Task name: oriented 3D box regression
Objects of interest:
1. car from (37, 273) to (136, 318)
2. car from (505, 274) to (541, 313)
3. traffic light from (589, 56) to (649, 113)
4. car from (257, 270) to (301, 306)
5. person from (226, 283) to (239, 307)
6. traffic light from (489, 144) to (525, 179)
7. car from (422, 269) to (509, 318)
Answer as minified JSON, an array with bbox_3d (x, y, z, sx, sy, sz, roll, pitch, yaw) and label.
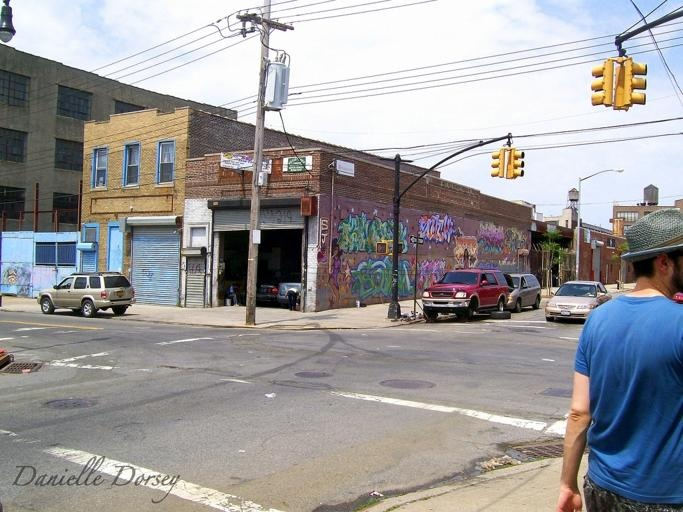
[{"bbox_3d":[-10.708,1.554,26.457,3.382,1.544,1.811,3,1,26],"label":"car"},{"bbox_3d":[8.421,1.681,29.642,1.363,1.168,2.744,-3,-4,31],"label":"car"},{"bbox_3d":[6.009,-3.734,13.732,1.065,1.150,0.453,-2,-4,22],"label":"traffic light"},{"bbox_3d":[-2.557,1.599,30.898,1.304,1.028,2.872,0,2,30],"label":"car"},{"bbox_3d":[-5.390,1.947,31.395,0.506,1.119,1.623,0,-4,-10],"label":"person"},{"bbox_3d":[5.593,-3.133,21.188,0.961,1.228,0.866,-1,-4,7],"label":"traffic light"},{"bbox_3d":[4.952,1.526,25.172,1.841,1.454,3.226,-5,-8,34],"label":"car"}]
